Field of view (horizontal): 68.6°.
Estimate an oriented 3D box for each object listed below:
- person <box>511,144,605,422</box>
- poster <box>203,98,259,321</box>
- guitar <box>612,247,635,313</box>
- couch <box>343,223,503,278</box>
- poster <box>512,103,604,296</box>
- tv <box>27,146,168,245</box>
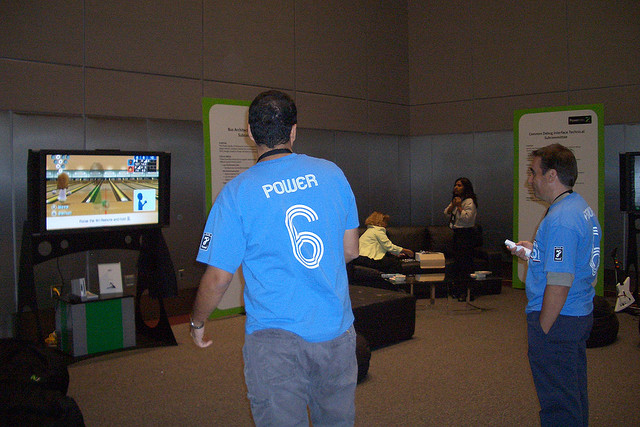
[{"bbox_3d":[1.999,0.576,3.897,0.524,2.301,0.475,0,3,29],"label":"person"},{"bbox_3d":[-1.414,-0.057,7.429,0.846,3.508,0.572,-2,3,-13],"label":"poster"},{"bbox_3d":[4.312,0.960,6.669,0.263,0.916,0.509,0,3,33],"label":"guitar"},{"bbox_3d":[2.261,0.809,9.199,2.106,0.855,0.944,2,15,2],"label":"couch"},{"bbox_3d":[4.147,-0.679,8.210,1.387,2.333,0.321,0,3,28],"label":"poster"},{"bbox_3d":[-2.932,-0.239,6.114,1.243,0.876,0.050,-2,8,-29],"label":"tv"}]
